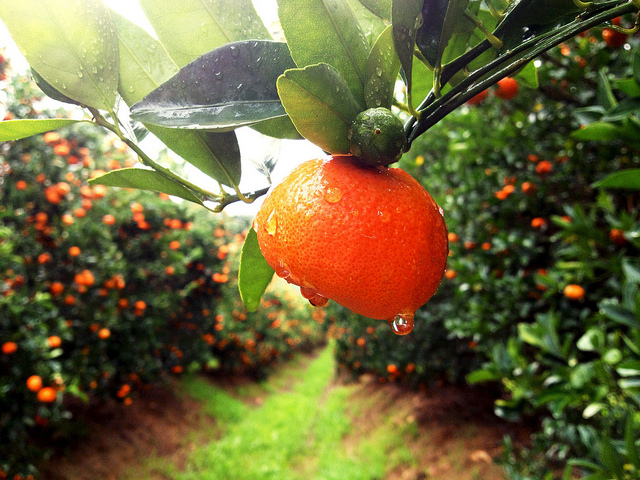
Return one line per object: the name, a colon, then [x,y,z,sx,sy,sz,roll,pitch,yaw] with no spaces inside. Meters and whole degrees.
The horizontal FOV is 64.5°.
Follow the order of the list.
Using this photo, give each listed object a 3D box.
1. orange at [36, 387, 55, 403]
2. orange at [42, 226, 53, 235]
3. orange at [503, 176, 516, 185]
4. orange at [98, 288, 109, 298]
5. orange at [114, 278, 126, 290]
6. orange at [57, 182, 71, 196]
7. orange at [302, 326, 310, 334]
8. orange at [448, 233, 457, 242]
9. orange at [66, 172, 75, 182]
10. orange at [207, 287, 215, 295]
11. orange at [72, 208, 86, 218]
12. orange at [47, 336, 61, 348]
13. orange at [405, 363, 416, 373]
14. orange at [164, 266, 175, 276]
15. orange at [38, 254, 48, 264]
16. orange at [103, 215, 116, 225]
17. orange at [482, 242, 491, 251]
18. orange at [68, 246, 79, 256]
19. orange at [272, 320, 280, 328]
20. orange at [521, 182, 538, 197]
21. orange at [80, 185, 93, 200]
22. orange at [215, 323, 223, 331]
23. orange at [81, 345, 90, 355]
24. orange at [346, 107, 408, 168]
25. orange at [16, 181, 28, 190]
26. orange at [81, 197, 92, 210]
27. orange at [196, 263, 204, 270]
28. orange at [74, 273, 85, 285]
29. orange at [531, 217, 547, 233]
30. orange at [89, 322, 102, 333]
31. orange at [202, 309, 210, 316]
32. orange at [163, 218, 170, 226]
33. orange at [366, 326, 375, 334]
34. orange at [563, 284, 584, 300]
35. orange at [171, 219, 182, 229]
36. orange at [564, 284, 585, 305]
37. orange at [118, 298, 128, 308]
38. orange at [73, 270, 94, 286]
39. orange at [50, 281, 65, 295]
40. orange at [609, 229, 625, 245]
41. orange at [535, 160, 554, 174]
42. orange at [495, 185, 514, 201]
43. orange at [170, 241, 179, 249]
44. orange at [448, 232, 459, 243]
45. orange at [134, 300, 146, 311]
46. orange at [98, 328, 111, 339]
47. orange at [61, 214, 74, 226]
orange: [-1.186,0.667,2.190,0.052,0.056,0.068,4,53,27]
orange: [-1.550,-0.053,2.879,0.037,0.037,0.048,-12,67,44]
orange: [1.034,-0.322,2.754,0.053,0.067,0.052,-1,80,2]
orange: [-1.252,0.306,2.932,0.042,0.078,0.059,6,80,4]
orange: [-1.185,0.268,3.020,0.058,0.062,0.065,4,60,-6]
orange: [-1.531,-0.301,3.063,0.067,0.072,0.091,1,77,-8]
orange: [-0.144,0.919,5.156,0.055,0.057,0.037,6,72,-21]
orange: [0.736,-0.015,2.821,0.036,0.037,0.039,18,110,45]
orange: [-1.587,-0.397,3.228,0.053,0.053,0.060,1,91,-6]
orange: [-0.907,0.423,4.204,0.045,0.052,0.058,0,80,3]
orange: [-1.455,-0.166,3.054,0.067,0.085,0.051,-10,79,1]
orange: [-1.264,0.481,2.406,0.056,0.070,0.048,-12,79,0]
orange: [0.610,0.862,3.412,0.058,0.056,0.065,4,80,3]
orange: [-1.078,0.220,3.610,0.066,0.069,0.045,1,88,-17]
orange: [-1.500,0.106,2.758,0.043,0.044,0.046,4,74,-1]
orange: [-1.343,-0.118,3.226,0.055,0.062,0.059,-4,32,16]
orange: [0.907,0.035,2.763,0.038,0.041,0.050,-1,61,2]
orange: [-1.373,0.063,2.809,0.053,0.054,0.060,-4,70,51]
orange: [-0.413,0.781,4.737,0.054,0.034,0.057,-4,33,-4]
orange: [1.079,-0.266,2.613,0.066,0.070,0.075,-1,81,-10]
orange: [-1.439,-0.289,3.125,0.084,0.050,0.069,33,117,20]
orange: [-0.795,0.676,3.946,0.066,0.057,0.059,2,80,3]
orange: [-1.238,0.580,2.669,0.029,0.050,0.054,-24,80,-2]
orange: [0.133,-0.246,1.234,0.116,0.101,0.152,1,94,3]
orange: [-1.756,-0.321,2.986,0.044,0.071,0.052,-7,79,1]
orange: [-1.441,-0.228,3.124,0.047,0.039,0.067,3,33,-11]
orange: [-0.984,0.215,4.147,0.046,0.056,0.053,-4,80,2]
orange: [-1.299,0.209,2.760,0.048,0.049,0.049,22,80,40]
orange: [1.098,-0.077,2.533,0.079,0.082,0.048,-17,55,32]
orange: [-1.223,0.473,2.737,0.059,0.031,0.052,-6,80,1]
orange: [-0.901,0.569,3.981,0.049,0.076,0.050,-1,80,3]
orange: [-1.150,-0.137,3.794,0.044,0.035,0.058,2,80,3]
orange: [0.372,0.669,3.764,0.058,0.086,0.056,-5,79,2]
orange: [0.951,0.185,1.895,0.061,0.047,0.051,-9,106,-31]
orange: [-1.091,-0.121,3.819,0.061,0.065,0.067,0,79,-6]
orange: [0.974,0.205,1.938,0.058,0.063,0.078,4,51,-4]
orange: [-1.152,0.365,2.969,0.042,0.045,0.054,7,110,-2]
orange: [-1.287,0.192,2.779,0.082,0.089,0.048,12,115,-14]
orange: [-1.403,0.255,2.720,0.073,0.072,0.079,33,112,47]
orange: [1.070,-0.009,1.823,0.046,0.047,0.061,1,92,43]
orange: [1.157,-0.375,2.626,0.068,0.107,0.081,-3,80,2]
orange: [0.986,-0.252,2.713,0.078,0.078,0.027,-43,108,-9]
orange: [-1.069,0.035,3.716,0.059,0.116,0.056,0,80,3]
orange: [0.753,-0.016,2.856,0.040,0.025,0.042,-12,27,-21]
orange: [-1.067,0.387,2.989,0.036,0.038,0.039,-33,115,1]
orange: [-1.144,0.494,2.675,0.037,0.045,0.038,40,121,10]
orange: [-1.457,-0.120,2.935,0.061,0.061,0.033,45,108,-4]
